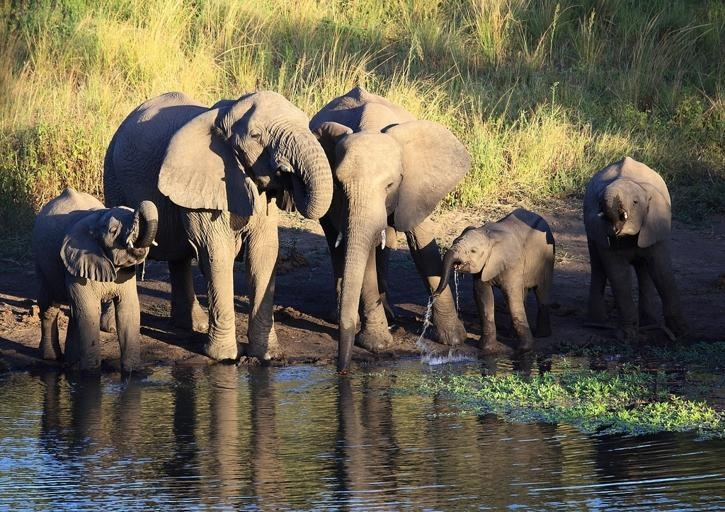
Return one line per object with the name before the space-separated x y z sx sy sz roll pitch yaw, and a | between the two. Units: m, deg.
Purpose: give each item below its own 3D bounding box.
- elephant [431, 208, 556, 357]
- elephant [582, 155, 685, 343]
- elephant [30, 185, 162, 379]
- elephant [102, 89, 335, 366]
elephant | 1.406 0.290 11.008 1.748 1.458 0.608 -10 10 -43
elephant | 2.797 -0.078 11.032 0.898 1.728 0.908 0 12 0
elephant | -2.463 0.277 10.182 0.879 1.801 2.062 -7 11 -44
elephant | -1.471 -0.362 10.675 2.898 2.669 1.335 6 13 40
